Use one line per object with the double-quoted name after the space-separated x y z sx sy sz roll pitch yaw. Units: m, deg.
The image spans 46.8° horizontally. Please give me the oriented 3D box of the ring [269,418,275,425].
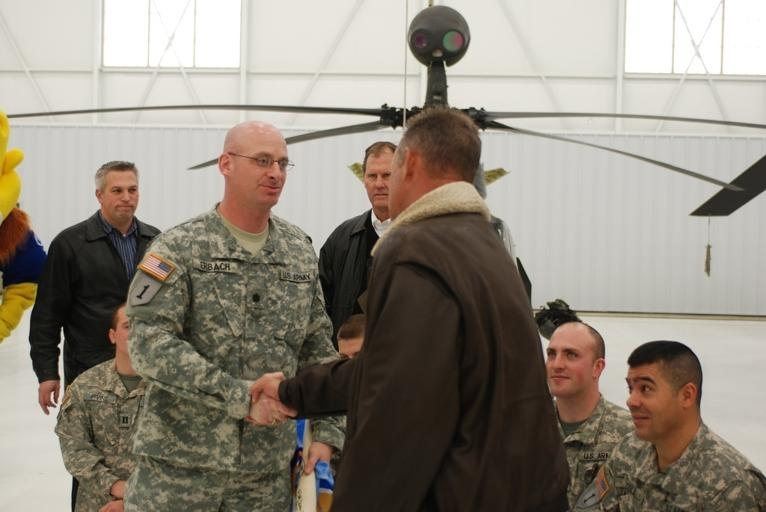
-0.872 1.286 6.939 0.046 0.052 0.012 1 6 -9 "ring"
